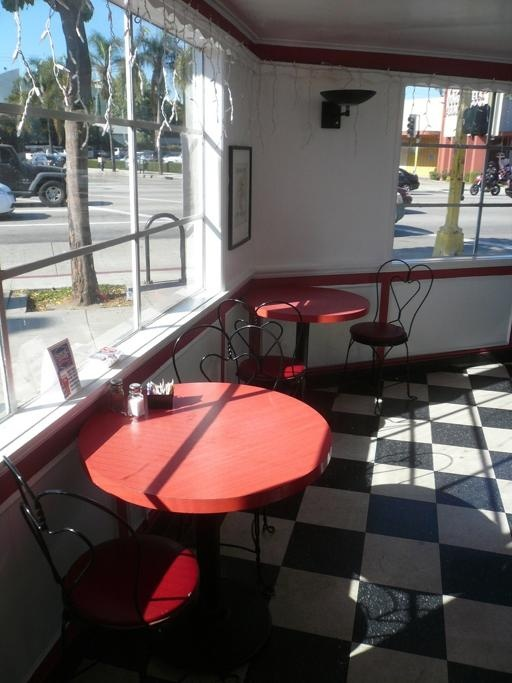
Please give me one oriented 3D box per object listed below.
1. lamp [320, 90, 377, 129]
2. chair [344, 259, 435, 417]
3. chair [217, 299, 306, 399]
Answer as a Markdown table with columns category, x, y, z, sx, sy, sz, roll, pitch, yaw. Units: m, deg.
| category | x | y | z | sx | sy | sz | roll | pitch | yaw |
| --- | --- | --- | --- | --- | --- | --- | --- | --- | --- |
| lamp | 0.567 | -1.535 | 3.280 | 0.261 | 0.177 | 0.262 | -8 | 36 | -11 |
| chair | 1.011 | -0.121 | 3.833 | 0.595 | 0.917 | 1.009 | 8 | 21 | 18 |
| chair | -0.013 | 0.183 | 2.806 | 0.381 | 0.571 | 0.310 | 11 | -7 | -4 |
